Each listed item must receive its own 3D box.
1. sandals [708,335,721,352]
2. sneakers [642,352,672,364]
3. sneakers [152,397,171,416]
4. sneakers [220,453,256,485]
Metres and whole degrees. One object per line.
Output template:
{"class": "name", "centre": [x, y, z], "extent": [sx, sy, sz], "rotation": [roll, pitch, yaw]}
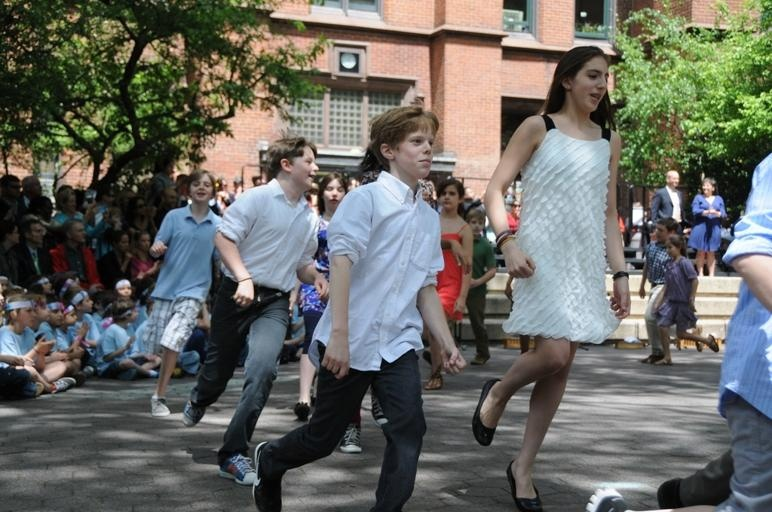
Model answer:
{"class": "sandals", "centre": [6.772, 1.832, 16.770], "extent": [0.191, 0.431, 0.199], "rotation": [-18, 28, 22]}
{"class": "sneakers", "centre": [4.794, 1.855, 14.600], "extent": [0.625, 0.212, 0.199], "rotation": [1, -6, 5]}
{"class": "sneakers", "centre": [-2.624, 1.746, 9.474], "extent": [0.212, 0.222, 0.310], "rotation": [1, 2, -16]}
{"class": "sneakers", "centre": [-1.277, 1.882, 7.187], "extent": [0.430, 0.233, 0.209], "rotation": [2, 2, 32]}
